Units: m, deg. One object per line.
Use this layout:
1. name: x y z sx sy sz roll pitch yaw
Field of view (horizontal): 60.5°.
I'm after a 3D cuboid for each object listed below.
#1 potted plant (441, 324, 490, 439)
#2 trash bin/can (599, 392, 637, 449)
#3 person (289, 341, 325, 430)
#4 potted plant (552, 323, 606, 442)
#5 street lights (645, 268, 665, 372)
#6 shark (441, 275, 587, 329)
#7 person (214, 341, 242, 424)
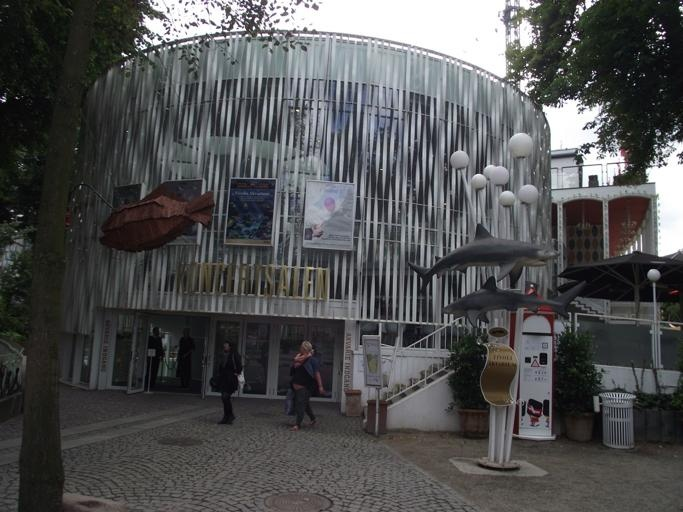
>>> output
1. potted plant: 3.416 3.457 15.950 0.837 2.706 0.985 2 1 -27
2. trash bin/can: 7.069 4.152 14.993 0.701 1.347 0.789 0 -8 9
3. person: -0.908 3.357 15.154 0.966 2.208 0.826 -1 -6 33
4. potted plant: 6.338 3.426 15.769 1.039 2.576 1.015 -3 -5 37
5. street lights: 9.015 1.825 16.808 0.408 2.921 0.431 -2 0 35
6. shark: 3.491 0.947 12.299 3.067 1.189 0.812 -6 -12 32
7. person: -2.980 3.321 15.474 0.801 2.226 0.574 -5 -11 30
